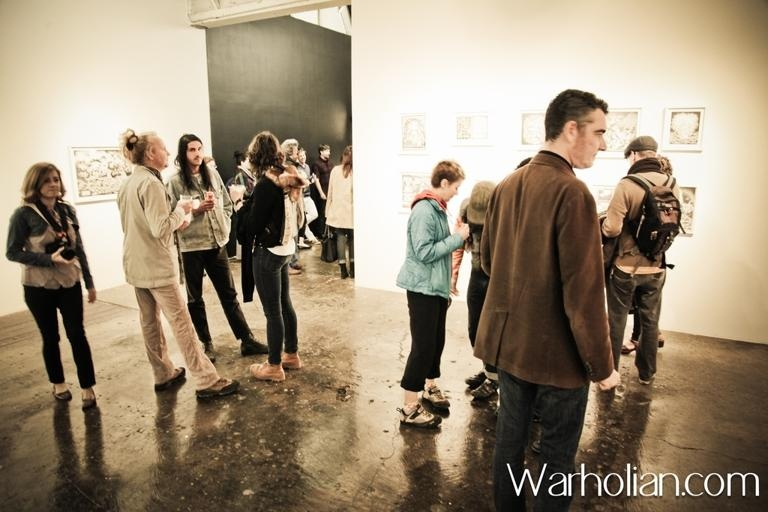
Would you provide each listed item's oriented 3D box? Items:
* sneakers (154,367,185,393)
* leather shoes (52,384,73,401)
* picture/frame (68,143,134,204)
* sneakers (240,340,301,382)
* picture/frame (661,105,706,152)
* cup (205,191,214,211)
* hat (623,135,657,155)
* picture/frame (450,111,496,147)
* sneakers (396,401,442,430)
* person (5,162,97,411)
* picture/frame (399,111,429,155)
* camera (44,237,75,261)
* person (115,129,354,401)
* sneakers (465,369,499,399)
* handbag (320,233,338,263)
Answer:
[{"bbox_3d":[-2.273,1.351,5.623,0.134,0.147,0.351,5,19,18],"label":"sneakers"},{"bbox_3d":[-3.366,1.429,5.448,0.105,0.123,0.306,0,-1,-40],"label":"leather shoes"},{"bbox_3d":[-4.315,-1.317,8.089,1.308,0.867,0.055,0,3,17],"label":"picture/frame"},{"bbox_3d":[-1.281,1.179,5.770,0.662,0.277,0.225,7,18,26],"label":"sneakers"},{"bbox_3d":[3.653,-1.573,6.303,0.561,0.641,0.044,4,6,21],"label":"picture/frame"},{"bbox_3d":[-1.798,-0.577,5.411,0.085,0.189,0.215,-5,14,-19],"label":"cup"},{"bbox_3d":[2.687,-1.164,5.471,0.202,0.142,0.277,-8,11,-20],"label":"hat"},{"bbox_3d":[1.246,-1.784,7.249,0.509,0.454,0.117,2,5,29],"label":"picture/frame"},{"bbox_3d":[0.348,1.551,5.063,0.445,0.198,0.181,2,-2,5],"label":"sneakers"},{"bbox_3d":[-3.261,0.291,5.274,0.751,2.440,0.546,3,14,12],"label":"person"},{"bbox_3d":[0.464,-1.830,7.602,0.654,0.846,0.040,3,9,24],"label":"picture/frame"},{"bbox_3d":[-3.169,-0.080,5.175,0.244,0.237,0.251,16,18,30],"label":"camera"},{"bbox_3d":[-2.110,0.019,5.632,0.879,2.679,1.131,4,14,19],"label":"person"},{"bbox_3d":[1.026,1.346,5.428,0.215,0.154,0.361,3,-8,34],"label":"sneakers"},{"bbox_3d":[-0.996,-0.148,9.599,0.240,0.509,0.524,0,9,11],"label":"handbag"}]
